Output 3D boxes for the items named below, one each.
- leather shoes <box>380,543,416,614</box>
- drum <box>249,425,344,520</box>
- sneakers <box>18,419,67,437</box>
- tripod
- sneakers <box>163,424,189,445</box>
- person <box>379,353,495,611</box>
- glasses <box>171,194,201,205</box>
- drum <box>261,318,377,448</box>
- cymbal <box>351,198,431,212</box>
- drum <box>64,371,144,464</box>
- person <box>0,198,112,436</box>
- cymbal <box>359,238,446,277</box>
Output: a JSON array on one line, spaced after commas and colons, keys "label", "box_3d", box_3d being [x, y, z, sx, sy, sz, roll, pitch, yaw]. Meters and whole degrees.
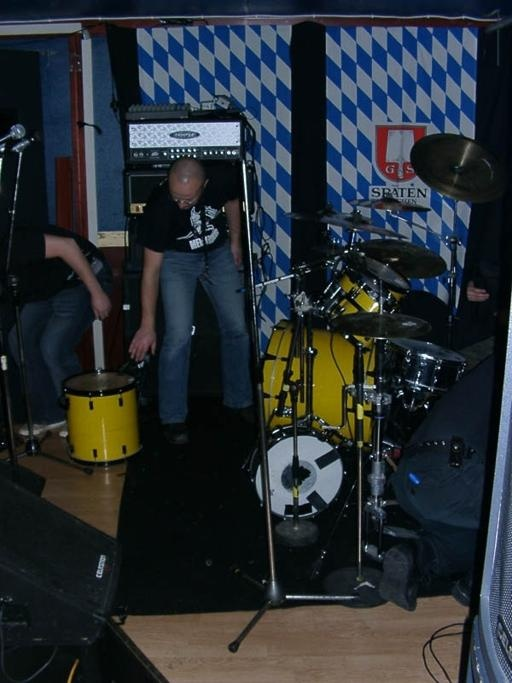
[{"label": "leather shoes", "box_3d": [0.471, 0.760, 2.176, 0.098, 0.043, 0.169, 10, 46, 8]}, {"label": "drum", "box_3d": [0.198, 0.555, 2.577, 0.349, 0.345, 0.214, -7, -34, 25]}, {"label": "sneakers", "box_3d": [-1.073, 0.448, 3.474, 0.296, 0.119, 0.100, 1, 8, -17]}, {"label": "tripod", "box_3d": [0.039, 0.150, 2.068, 0.426, 1.366, 0.595, -4, 15, -18]}, {"label": "sneakers", "box_3d": [-0.389, 0.464, 3.406, 0.144, 0.092, 0.131, -6, 15, -24]}, {"label": "person", "box_3d": [0.603, 0.441, 2.222, 0.302, 0.728, 0.519, 6, 15, 19]}, {"label": "glasses", "box_3d": [-0.318, -0.649, 3.067, 0.109, 0.057, 0.168, -1, 14, -6]}, {"label": "drum", "box_3d": [0.288, 0.164, 2.800, 0.434, 0.467, 0.475, 10, 0, 32]}, {"label": "cymbal", "box_3d": [0.710, -0.753, 3.641, 0.250, 0.058, 0.249, 13, 23, 23]}, {"label": "drum", "box_3d": [-0.712, 0.360, 3.112, 0.345, 0.347, 0.348, 8, 15, 42]}, {"label": "person", "box_3d": [-0.937, -0.016, 3.276, 0.432, 1.083, 0.456, -5, 15, -20]}, {"label": "cymbal", "box_3d": [0.678, -0.382, 3.006, 0.293, 0.066, 0.290, 19, 7, -20]}]
